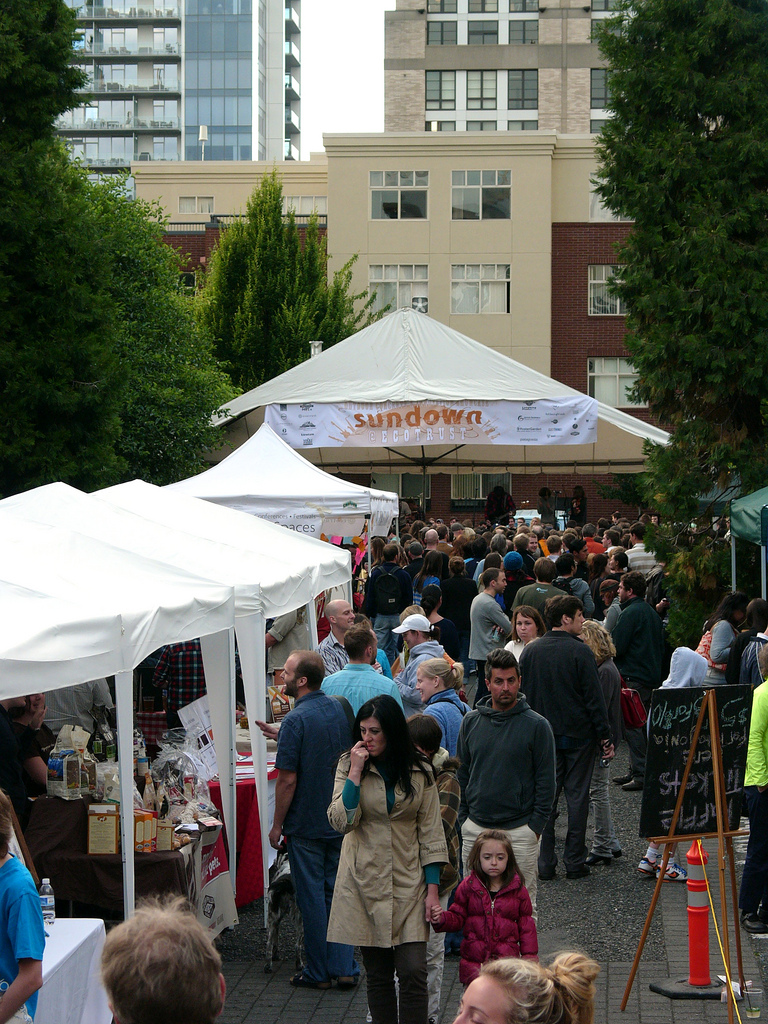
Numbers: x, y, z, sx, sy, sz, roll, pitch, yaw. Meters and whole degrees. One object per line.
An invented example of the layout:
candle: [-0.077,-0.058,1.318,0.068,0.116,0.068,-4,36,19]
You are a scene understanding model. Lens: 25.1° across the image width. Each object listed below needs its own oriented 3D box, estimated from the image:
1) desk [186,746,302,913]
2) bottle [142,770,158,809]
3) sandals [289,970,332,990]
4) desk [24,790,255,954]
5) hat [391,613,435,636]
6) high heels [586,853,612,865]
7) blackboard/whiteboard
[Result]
desk: [-0.793,1.908,9.821,0.615,0.520,0.656,-1,-1,11]
bottle: [-1.177,1.406,8.684,0.076,0.194,0.128,5,-39,-15]
sandals: [-0.364,2.381,8.713,0.198,0.094,0.080,8,-5,15]
desk: [-1.328,1.796,8.807,0.684,0.350,1.205,1,5,4]
hat: [0.169,0.720,11.176,0.207,0.127,0.155,2,-4,6]
high heels: [1.356,2.214,10.907,0.165,0.081,0.063,7,-1,3]
blackboard/whiteboard: [1.514,1.184,8.207,0.710,0.712,0.199,-4,5,-29]
